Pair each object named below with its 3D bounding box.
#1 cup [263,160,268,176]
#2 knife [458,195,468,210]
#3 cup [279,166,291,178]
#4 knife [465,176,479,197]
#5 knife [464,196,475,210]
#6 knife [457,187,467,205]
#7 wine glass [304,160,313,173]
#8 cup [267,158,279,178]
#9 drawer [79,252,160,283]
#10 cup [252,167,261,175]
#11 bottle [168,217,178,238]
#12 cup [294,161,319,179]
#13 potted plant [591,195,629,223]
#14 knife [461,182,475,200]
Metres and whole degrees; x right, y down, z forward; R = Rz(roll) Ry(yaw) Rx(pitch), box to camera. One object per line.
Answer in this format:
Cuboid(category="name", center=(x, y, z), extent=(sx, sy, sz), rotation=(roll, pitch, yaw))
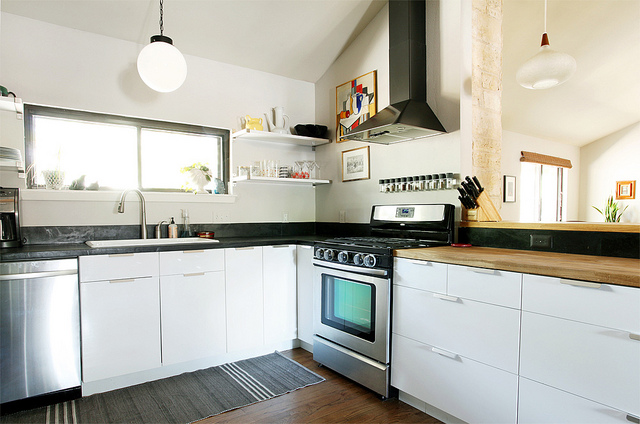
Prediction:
Cuboid(category="cup", center=(-0.590, -0.470, 4.547), extent=(0.050, 0.150, 0.056), rotation=(-1, 14, -6))
Cuboid(category="knife", center=(1.261, -0.088, 3.735), extent=(0.037, 0.136, 0.037), rotation=(-47, -5, 36))
Cuboid(category="cup", center=(-0.400, -0.442, 4.652), extent=(0.124, 0.131, 0.118), rotation=(1, 0, 0))
Cuboid(category="knife", center=(1.307, -0.226, 3.688), extent=(0.067, 0.237, 0.073), rotation=(-31, 11, -12))
Cuboid(category="knife", center=(1.292, -0.091, 3.692), extent=(0.029, 0.166, 0.035), rotation=(-33, 6, 11))
Cuboid(category="knife", center=(1.234, -0.162, 3.706), extent=(0.019, 0.125, 0.029), rotation=(-13, 29, 35))
Cuboid(category="wine glass", center=(-0.125, -0.529, 4.728), extent=(0.086, 0.090, 0.084), rotation=(1, -2, -23))
Cuboid(category="cup", center=(-0.508, -0.465, 4.565), extent=(0.111, 0.168, 0.180), rotation=(-1, 14, -6))
Cuboid(category="drawer", center=(-1.684, 0.461, 3.547), extent=(0.389, 0.126, 0.269), rotation=(1, 0, -33))
Cuboid(category="cup", center=(-0.681, -0.436, 4.503), extent=(0.081, 0.072, 0.080), rotation=(0, 0, 0))
Cuboid(category="bottle", center=(-1.491, 0.151, 4.275), extent=(0.088, 0.188, 0.151), rotation=(-4, 14, -17))
Cuboid(category="cup", center=(-0.164, -0.477, 4.801), extent=(0.210, 0.151, 0.201), rotation=(0, -1, 0))
Cuboid(category="potted plant", center=(3.066, -0.005, 4.484), extent=(0.268, 0.238, 0.233), rotation=(-7, 10, 3))
Cuboid(category="knife", center=(1.273, -0.188, 3.707), extent=(0.054, 0.195, 0.052), rotation=(-29, 15, 51))
